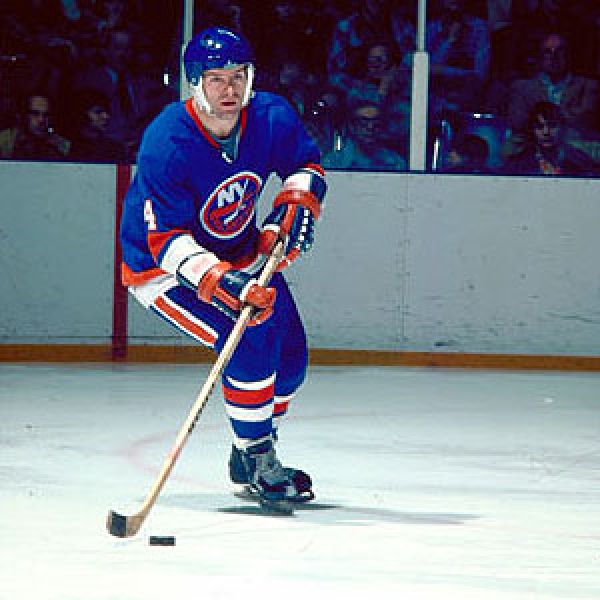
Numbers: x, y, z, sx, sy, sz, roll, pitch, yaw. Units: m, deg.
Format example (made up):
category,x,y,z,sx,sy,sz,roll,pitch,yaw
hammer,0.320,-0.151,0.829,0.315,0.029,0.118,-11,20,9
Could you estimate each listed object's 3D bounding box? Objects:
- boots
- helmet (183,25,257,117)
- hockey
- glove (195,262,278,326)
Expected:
category,x,y,z,sx,sy,sz,roll,pitch,yaw
boots,-0.090,0.487,2.881,0.121,0.150,0.336,-9,4,-22
helmet,-0.227,-0.653,2.761,0.212,0.224,0.238,-6,13,-23
hockey,-0.334,0.302,3.114,0.126,1.129,0.151,33,-16,-2
glove,-0.166,-0.037,2.635,0.184,0.138,0.084,34,35,2
